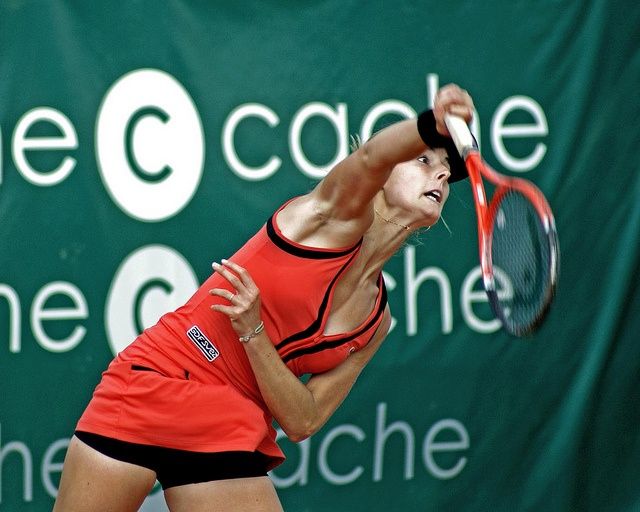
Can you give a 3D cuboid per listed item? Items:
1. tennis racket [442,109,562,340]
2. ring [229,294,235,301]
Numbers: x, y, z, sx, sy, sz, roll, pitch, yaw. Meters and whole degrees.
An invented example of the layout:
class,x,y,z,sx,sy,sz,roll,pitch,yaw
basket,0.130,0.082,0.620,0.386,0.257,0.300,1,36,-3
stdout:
class,x,y,z,sx,sy,sz,roll,pitch,yaw
tennis racket,0.757,-0.083,3.254,0.323,0.634,1.200,-7,-5,16
ring,-0.311,0.147,2.964,0.018,0.022,0.009,-8,-4,16
